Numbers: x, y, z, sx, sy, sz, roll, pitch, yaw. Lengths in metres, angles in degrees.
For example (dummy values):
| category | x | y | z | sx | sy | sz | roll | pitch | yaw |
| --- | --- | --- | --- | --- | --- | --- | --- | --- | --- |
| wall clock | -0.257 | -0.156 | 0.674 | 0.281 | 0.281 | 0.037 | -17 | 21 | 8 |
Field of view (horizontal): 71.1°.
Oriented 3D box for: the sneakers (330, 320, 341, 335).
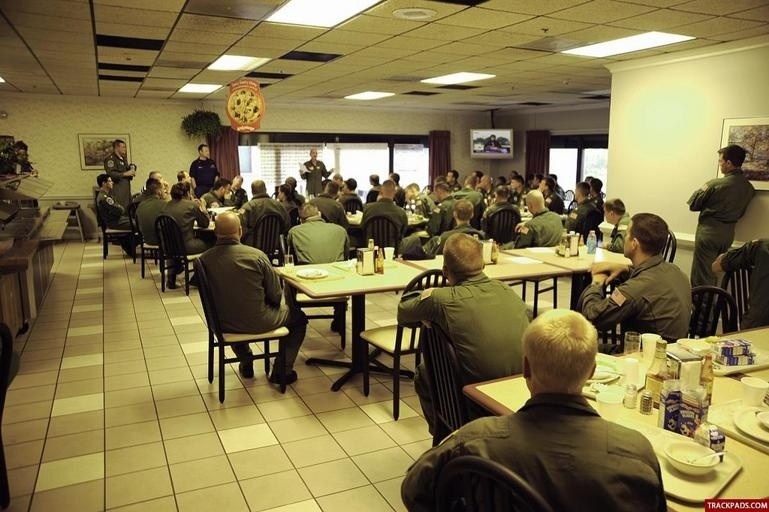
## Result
| category | x | y | z | sx | sy | sz | roll | pitch | yaw |
| --- | --- | --- | --- | --- | --- | --- | --- | --- | --- |
| sneakers | -0.538 | 0.781 | 5.967 | 0.137 | 0.077 | 0.174 | -10 | 27 | -22 |

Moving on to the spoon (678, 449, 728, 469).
| category | x | y | z | sx | sy | sz | roll | pitch | yaw |
| --- | --- | --- | --- | --- | --- | --- | --- | --- | --- |
| spoon | 1.430 | 0.895 | 2.390 | 0.083 | 0.040 | 0.123 | 0 | -8 | -37 |

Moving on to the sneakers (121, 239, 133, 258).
| category | x | y | z | sx | sy | sz | roll | pitch | yaw |
| --- | --- | --- | --- | --- | --- | --- | --- | --- | --- |
| sneakers | -4.576 | -0.138 | 9.579 | 0.110 | 0.314 | 0.132 | -15 | 15 | -27 |

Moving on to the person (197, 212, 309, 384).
| category | x | y | z | sx | sy | sz | roll | pitch | yaw |
| --- | --- | --- | --- | --- | --- | --- | --- | --- | --- |
| person | -1.133 | 0.387 | 4.719 | 0.908 | 1.441 | 0.831 | -5 | 5 | -10 |

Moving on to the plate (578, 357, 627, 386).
| category | x | y | z | sx | sy | sz | roll | pitch | yaw |
| --- | --- | --- | --- | --- | --- | --- | --- | --- | --- |
| plate | 1.107 | 0.593 | 2.734 | 0.283 | 0.057 | 0.258 | -5 | 10 | -2 |

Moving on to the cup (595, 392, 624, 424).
| category | x | y | z | sx | sy | sz | roll | pitch | yaw |
| --- | --- | --- | --- | --- | --- | --- | --- | --- | --- |
| cup | 1.159 | 0.773 | 2.749 | 0.136 | 0.095 | 0.125 | -4 | 9 | 1 |

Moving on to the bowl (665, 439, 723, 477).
| category | x | y | z | sx | sy | sz | roll | pitch | yaw |
| --- | --- | --- | --- | --- | --- | --- | --- | --- | --- |
| bowl | 1.363 | 0.902 | 2.378 | 0.223 | 0.069 | 0.203 | 2 | 10 | 0 |

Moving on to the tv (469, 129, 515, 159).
| category | x | y | z | sx | sy | sz | roll | pitch | yaw |
| --- | --- | --- | --- | --- | --- | --- | --- | --- | --- |
| tv | 2.906 | -3.009 | 14.710 | 1.511 | 0.936 | 0.774 | 2 | 6 | 11 |

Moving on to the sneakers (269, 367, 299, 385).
| category | x | y | z | sx | sy | sz | roll | pitch | yaw |
| --- | --- | --- | --- | --- | --- | --- | --- | --- | --- |
| sneakers | -0.895 | 1.069 | 4.773 | 0.221 | 0.115 | 0.351 | 1 | -2 | -12 |
